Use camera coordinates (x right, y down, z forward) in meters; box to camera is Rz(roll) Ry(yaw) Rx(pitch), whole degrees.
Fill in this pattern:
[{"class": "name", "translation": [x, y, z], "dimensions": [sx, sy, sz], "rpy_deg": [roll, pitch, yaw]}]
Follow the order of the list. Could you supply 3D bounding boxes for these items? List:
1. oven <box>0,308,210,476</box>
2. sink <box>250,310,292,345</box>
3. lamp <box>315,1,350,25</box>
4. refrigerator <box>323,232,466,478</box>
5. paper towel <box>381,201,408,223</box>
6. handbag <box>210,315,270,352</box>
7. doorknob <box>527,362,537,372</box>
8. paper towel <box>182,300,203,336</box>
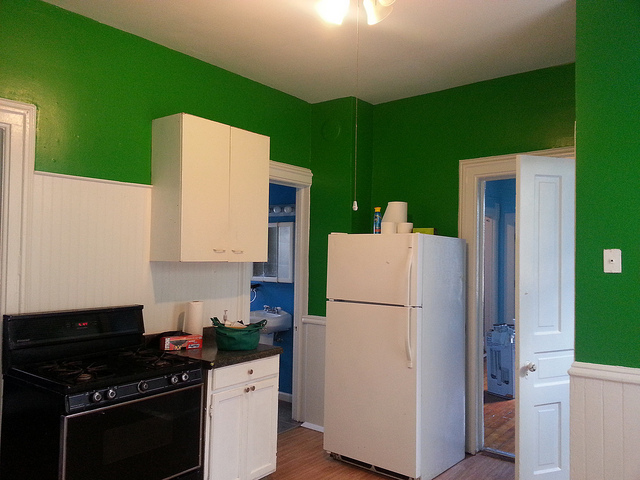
[{"class": "oven", "translation": [-1.368, 1.013, 3.350], "dimensions": [0.759, 1.090, 1.064], "rpy_deg": [1, 1, 44]}, {"class": "sink", "translation": [-0.613, 0.961, 5.660], "dimensions": [0.485, 0.369, 0.485], "rpy_deg": [1, 1, 43]}, {"class": "lamp", "translation": [0.082, -1.388, 3.142], "dimensions": [0.154, 0.071, 0.167], "rpy_deg": [-1, 1, -37]}, {"class": "refrigerator", "translation": [0.575, 0.894, 4.180], "dimensions": [1.128, 1.900, 0.618], "rpy_deg": [0, 1, 13]}, {"class": "paper towel", "translation": [0.648, -0.227, 4.445], "dimensions": [0.193, 0.188, 0.171], "rpy_deg": [2, -10, 30]}, {"class": "handbag", "translation": [-0.645, 0.705, 3.968], "dimensions": [0.453, 0.238, 0.392], "rpy_deg": [3, -2, -38]}, {"class": "doorknob", "translation": [1.527, 0.912, 3.738], "dimensions": [0.054, 0.032, 0.074], "rpy_deg": [-1, 0, -10]}, {"class": "paper towel", "translation": [-0.990, 0.622, 4.029], "dimensions": [0.172, 0.299, 0.170], "rpy_deg": [-6, -10, 20]}]
